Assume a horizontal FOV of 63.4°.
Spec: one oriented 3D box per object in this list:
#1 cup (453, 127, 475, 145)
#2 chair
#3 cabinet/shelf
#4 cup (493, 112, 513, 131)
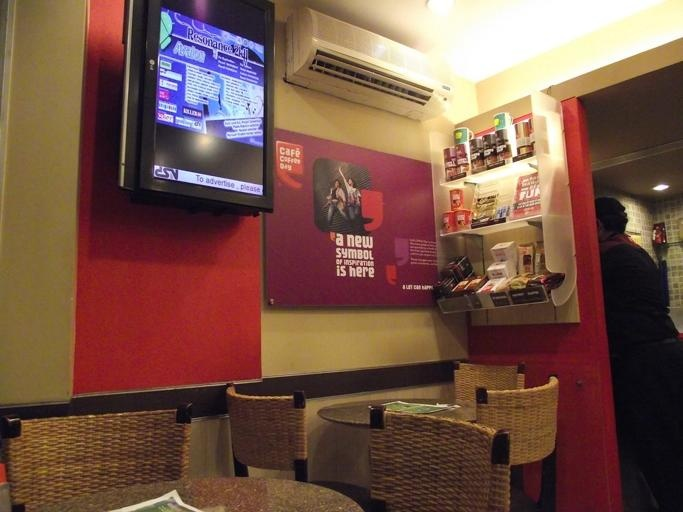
[{"bbox_3d":[0.940,-0.938,4.294,0.172,0.129,0.131,9,-11,-23],"label":"cup"},{"bbox_3d":[-0.380,1.129,3.488,2.999,0.731,0.563,4,-8,-41],"label":"chair"},{"bbox_3d":[1.151,-0.300,4.135,0.561,1.643,0.937,3,-8,-35],"label":"cabinet/shelf"},{"bbox_3d":[1.154,-0.978,4.032,0.118,0.125,0.158,3,3,44],"label":"cup"}]
